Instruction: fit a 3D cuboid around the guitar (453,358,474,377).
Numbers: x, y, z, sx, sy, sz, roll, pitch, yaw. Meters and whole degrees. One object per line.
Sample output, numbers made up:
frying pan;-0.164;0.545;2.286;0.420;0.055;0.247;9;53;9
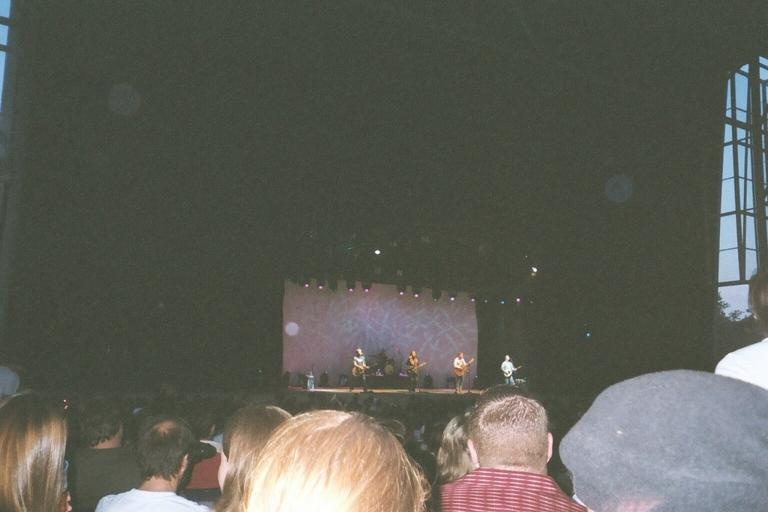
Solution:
guitar;1.716;2.352;16.385;0.084;0.307;0.586;-18;-4;41

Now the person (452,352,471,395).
person;1.581;2.505;16.307;0.420;0.877;0.124;9;-9;-39
